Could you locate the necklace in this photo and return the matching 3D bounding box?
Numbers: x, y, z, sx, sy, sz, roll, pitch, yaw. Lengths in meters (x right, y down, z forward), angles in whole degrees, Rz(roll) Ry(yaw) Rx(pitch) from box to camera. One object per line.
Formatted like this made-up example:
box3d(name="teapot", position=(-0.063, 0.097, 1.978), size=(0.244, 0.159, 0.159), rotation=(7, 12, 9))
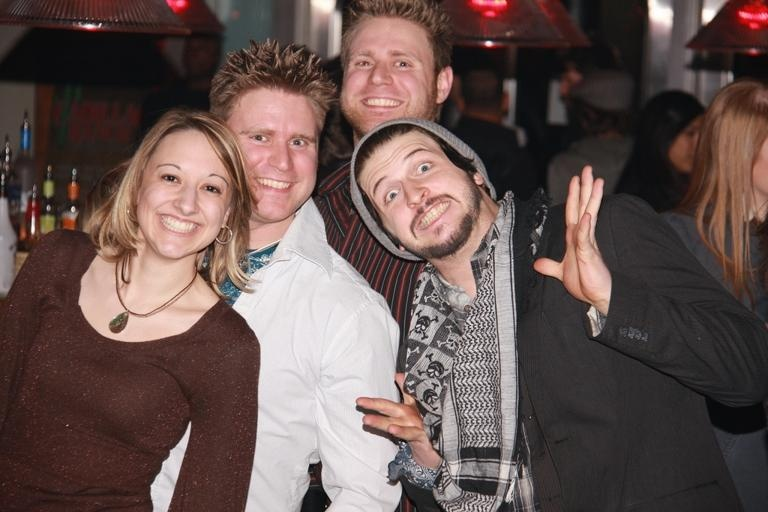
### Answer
box3d(name="necklace", position=(-0.935, 0.158, 2.955), size=(0.201, 0.029, 0.335), rotation=(31, 46, 7))
